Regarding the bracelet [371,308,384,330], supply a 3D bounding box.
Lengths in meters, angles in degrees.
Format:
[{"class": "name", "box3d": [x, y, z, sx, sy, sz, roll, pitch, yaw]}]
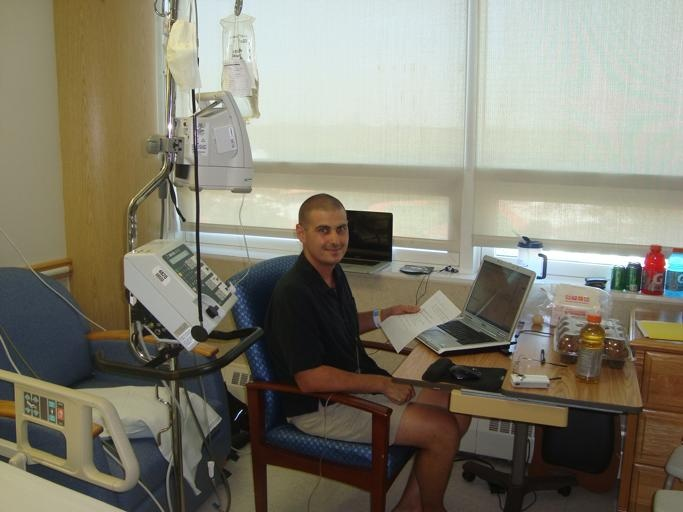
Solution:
[{"class": "bracelet", "box3d": [0.182, 0.314, 2.767, 0.058, 0.082, 0.058, -1, 2, 11]}]

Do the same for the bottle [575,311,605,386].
[{"class": "bottle", "box3d": [1.002, 0.365, 2.180, 0.092, 0.241, 0.152, 8, 15, 25]}]

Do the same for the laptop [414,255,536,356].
[{"class": "laptop", "box3d": [0.656, 0.260, 2.605, 0.329, 0.505, 0.476, 13, 4, -18]}]

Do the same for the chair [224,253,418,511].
[{"class": "chair", "box3d": [-0.029, 0.501, 2.975, 0.975, 1.524, 0.915, 1, 8, 23]}]

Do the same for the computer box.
[{"class": "computer box", "box3d": [0.939, 1.052, 3.178, 0.322, 0.221, 0.247, 11, -9, 2]}]

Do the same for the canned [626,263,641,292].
[{"class": "canned", "box3d": [1.627, 0.117, 3.012, 0.087, 0.156, 0.063, 4, 14, 7]}]

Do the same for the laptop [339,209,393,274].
[{"class": "laptop", "box3d": [0.190, -0.120, 3.475, 0.419, 0.352, 0.426, 3, 26, 9]}]

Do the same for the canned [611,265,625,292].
[{"class": "canned", "box3d": [1.554, 0.124, 3.036, 0.073, 0.139, 0.041, 3, 14, 6]}]

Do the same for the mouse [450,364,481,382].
[{"class": "mouse", "box3d": [0.501, 0.475, 2.196, 0.068, 0.025, 0.062, 4, 20, 16]}]

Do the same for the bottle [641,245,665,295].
[{"class": "bottle", "box3d": [1.727, 0.079, 2.984, 0.121, 0.260, 0.107, 8, 15, 23]}]

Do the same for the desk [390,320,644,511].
[{"class": "desk", "box3d": [0.857, 0.831, 2.461, 0.827, 0.703, 0.720, 2, 15, 11]}]
